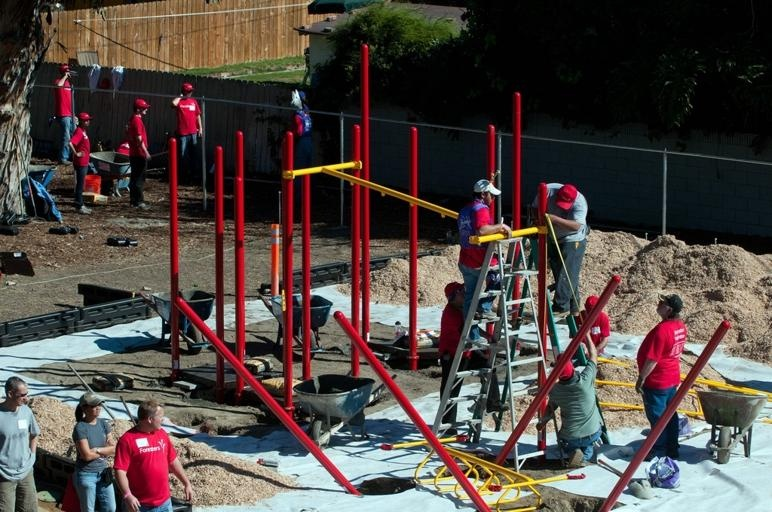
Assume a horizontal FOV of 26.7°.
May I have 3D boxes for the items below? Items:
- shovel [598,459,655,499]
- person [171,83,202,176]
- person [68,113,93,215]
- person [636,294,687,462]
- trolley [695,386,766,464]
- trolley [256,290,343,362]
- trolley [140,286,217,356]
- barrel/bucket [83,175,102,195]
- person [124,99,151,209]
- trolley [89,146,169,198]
[{"bbox_3d":[3.775,3.570,25.851,0.323,0.279,1.089,-40,54,-24],"label":"shovel"},{"bbox_3d":[-4.800,-2.935,38.244,0.584,2.259,1.030,12,17,43],"label":"person"},{"bbox_3d":[-7.045,-2.143,36.976,0.640,2.243,0.937,1,11,-18],"label":"person"},{"bbox_3d":[4.435,1.936,26.373,0.831,2.611,1.195,4,4,26],"label":"person"},{"bbox_3d":[5.606,2.791,26.457,0.895,1.191,1.076,0,-6,1],"label":"trolley"},{"bbox_3d":[-1.548,1.241,29.267,1.294,1.218,1.951,-1,7,-3],"label":"trolley"},{"bbox_3d":[-3.769,1.188,29.650,1.014,0.962,2.177,-1,7,-26],"label":"trolley"},{"bbox_3d":[-6.868,-1.657,37.876,0.416,0.442,0.406,3,4,0],"label":"barrel/bucket"},{"bbox_3d":[-5.663,-2.351,37.189,0.592,2.442,0.876,-1,7,-23],"label":"person"},{"bbox_3d":[-6.328,-2.353,38.465,1.932,1.740,1.085,8,-4,-17],"label":"trolley"}]
